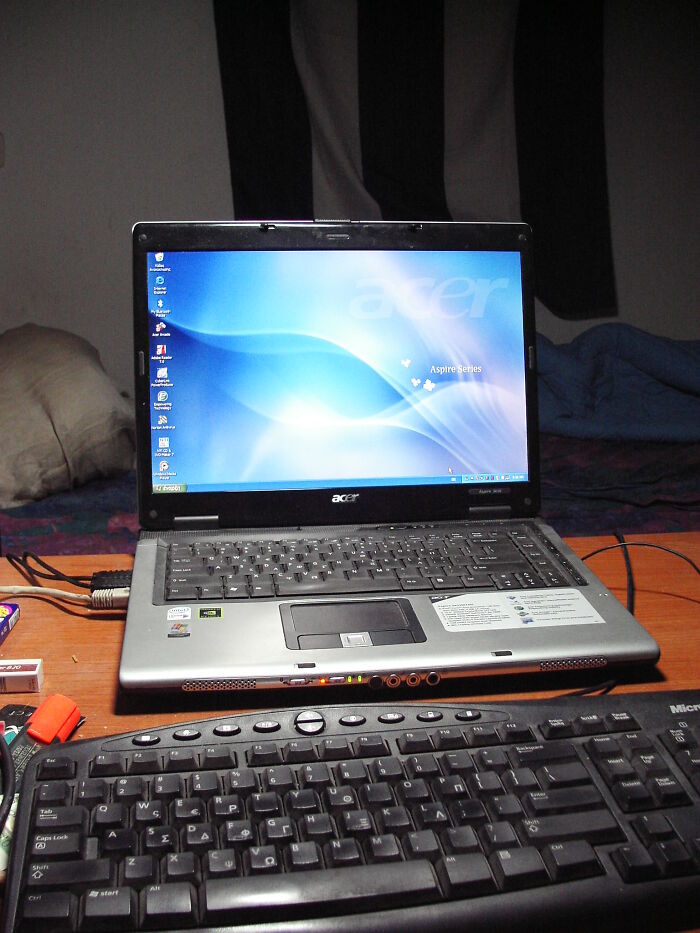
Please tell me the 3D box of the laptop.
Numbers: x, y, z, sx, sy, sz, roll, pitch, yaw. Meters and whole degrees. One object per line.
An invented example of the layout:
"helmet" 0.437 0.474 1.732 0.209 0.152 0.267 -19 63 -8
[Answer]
"laptop" 0.034 -0.041 0.819 0.547 0.478 0.404 -4 -70 -10
